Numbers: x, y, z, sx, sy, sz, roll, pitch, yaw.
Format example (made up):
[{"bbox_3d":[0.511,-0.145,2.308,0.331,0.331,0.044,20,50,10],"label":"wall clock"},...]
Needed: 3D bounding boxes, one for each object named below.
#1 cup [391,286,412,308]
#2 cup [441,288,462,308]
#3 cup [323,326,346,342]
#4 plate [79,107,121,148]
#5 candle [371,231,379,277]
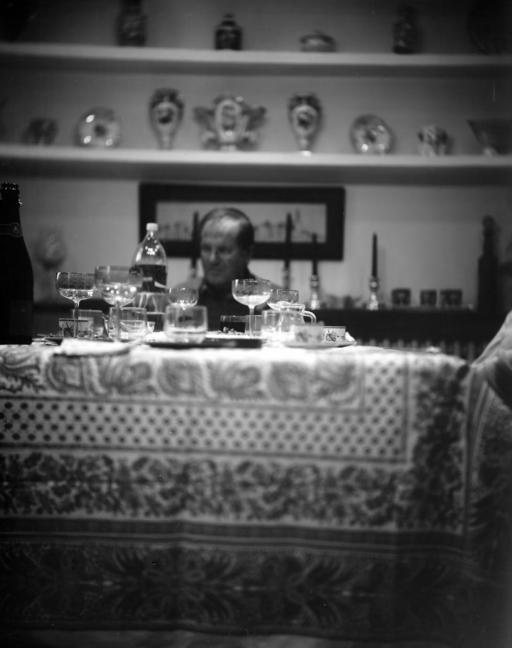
[{"bbox_3d":[0.503,-0.089,3.389,0.069,0.067,0.029,1,3,6],"label":"cup"},{"bbox_3d":[0.683,-0.094,3.407,0.078,0.054,0.035,1,3,7],"label":"cup"},{"bbox_3d":[0.172,0.023,2.064,0.034,0.026,0.035,1,-1,0],"label":"cup"},{"bbox_3d":[-0.525,-0.650,3.222,0.133,0.136,0.032,-4,2,-1],"label":"plate"},{"bbox_3d":[0.412,-0.240,3.391,0.024,0.152,0.019,1,3,7],"label":"candle"}]
